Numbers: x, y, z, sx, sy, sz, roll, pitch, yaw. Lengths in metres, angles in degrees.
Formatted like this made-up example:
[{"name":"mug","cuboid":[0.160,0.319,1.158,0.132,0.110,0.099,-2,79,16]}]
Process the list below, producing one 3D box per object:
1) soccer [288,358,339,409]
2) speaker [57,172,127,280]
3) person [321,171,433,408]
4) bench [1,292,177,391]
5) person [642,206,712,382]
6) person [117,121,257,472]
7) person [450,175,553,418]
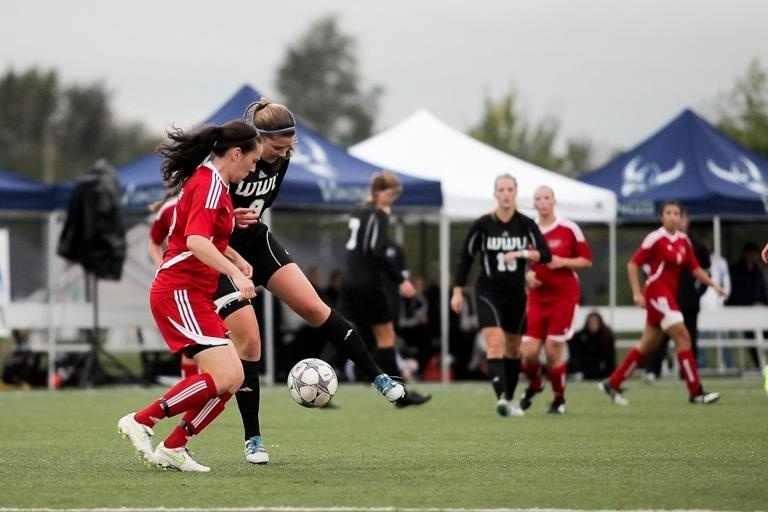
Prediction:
[{"name":"soccer","cuboid":[-0.675,1.189,10.664,0.428,0.457,0.451,23,-42,12]},{"name":"speaker","cuboid":[-4.243,-0.394,16.648,0.835,1.691,0.771,-1,-2,20]},{"name":"person","cuboid":[-0.063,0.353,14.558,1.022,3.034,1.043,0,0,33]},{"name":"bench","cuboid":[-4.662,1.261,17.753,2.516,1.495,1.982,-13,-13,35]},{"name":"person","cuboid":[4.195,0.577,15.861,1.043,2.877,0.834,0,1,3]},{"name":"person","cuboid":[-1.731,0.210,9.893,1.411,3.330,1.101,1,-4,13]},{"name":"person","cuboid":[1.355,0.437,12.881,1.082,2.753,0.711,0,-8,3]}]
